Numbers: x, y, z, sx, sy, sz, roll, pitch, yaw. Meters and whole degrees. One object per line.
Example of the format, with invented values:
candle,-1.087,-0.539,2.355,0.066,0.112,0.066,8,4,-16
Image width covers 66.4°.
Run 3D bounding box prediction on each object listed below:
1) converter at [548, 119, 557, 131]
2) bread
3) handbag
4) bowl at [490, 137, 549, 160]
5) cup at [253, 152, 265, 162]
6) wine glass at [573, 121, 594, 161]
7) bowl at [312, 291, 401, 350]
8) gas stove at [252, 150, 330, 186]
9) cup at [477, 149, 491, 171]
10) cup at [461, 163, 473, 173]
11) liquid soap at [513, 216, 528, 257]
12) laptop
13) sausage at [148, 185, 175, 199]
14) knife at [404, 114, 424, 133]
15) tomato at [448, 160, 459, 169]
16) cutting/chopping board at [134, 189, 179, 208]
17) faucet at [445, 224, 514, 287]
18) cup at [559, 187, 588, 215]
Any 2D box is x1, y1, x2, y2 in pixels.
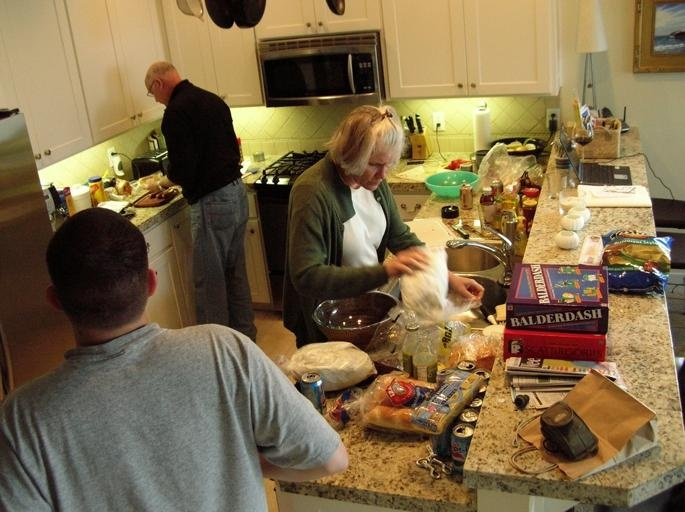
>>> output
converter,1.573,-0.982,3.941,0.052,0.090,0.039,1,21,19
bread,0.218,0.447,1.578,0.226,0.073,0.241,-3,19,32
handbag,0.753,0.416,1.476,0.230,0.106,0.301,36,15,27
bowl,1.271,-0.777,3.861,0.394,0.135,0.514,5,23,30
cup,-0.735,-0.864,4.605,0.086,0.075,0.088,0,9,0
wine glass,1.447,-0.686,3.176,0.105,0.286,0.447,3,22,24
bowl,0.047,0.259,2.032,0.307,0.120,0.307,-7,21,3
gas stove,-0.436,-0.697,4.191,0.349,0.110,0.512,2,37,28
cup,1.016,-0.692,3.819,0.122,0.138,0.125,-2,21,1
cup,0.888,-0.634,3.758,0.073,0.071,0.075,0,14,0
liquid soap,0.890,-0.113,2.643,0.058,0.206,0.188,0,21,17
laptop,1.500,-0.624,3.176,0.459,0.325,0.530,0,28,19
sausage,-1.339,-0.471,3.885,0.124,0.033,0.127,0,20,-6
knife,0.556,-1.041,4.155,0.124,0.061,0.197,-7,7,-1
tomato,0.822,-0.679,3.888,0.073,0.031,0.074,-13,16,-2
cutting/chopping board,-1.340,-0.421,3.827,0.129,0.026,0.234,6,23,21
faucet,0.727,0.010,2.744,0.368,0.346,0.275,6,31,21
cup,1.127,-0.272,2.577,0.110,0.108,0.147,7,14,38
